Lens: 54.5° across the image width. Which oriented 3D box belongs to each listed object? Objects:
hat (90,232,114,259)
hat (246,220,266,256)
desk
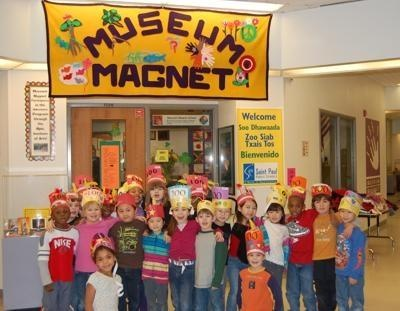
[{"bbox_3d":[-0.916,0.822,3.608,0.180,0.179,0.215,-3,0,-5],"label":"hat"},{"bbox_3d":[0.508,0.817,3.713,0.147,0.293,0.280,-2,-17,2],"label":"hat"},{"bbox_3d":[3.605,1.539,7.916,0.735,0.695,1.305,0,3,17],"label":"desk"}]
